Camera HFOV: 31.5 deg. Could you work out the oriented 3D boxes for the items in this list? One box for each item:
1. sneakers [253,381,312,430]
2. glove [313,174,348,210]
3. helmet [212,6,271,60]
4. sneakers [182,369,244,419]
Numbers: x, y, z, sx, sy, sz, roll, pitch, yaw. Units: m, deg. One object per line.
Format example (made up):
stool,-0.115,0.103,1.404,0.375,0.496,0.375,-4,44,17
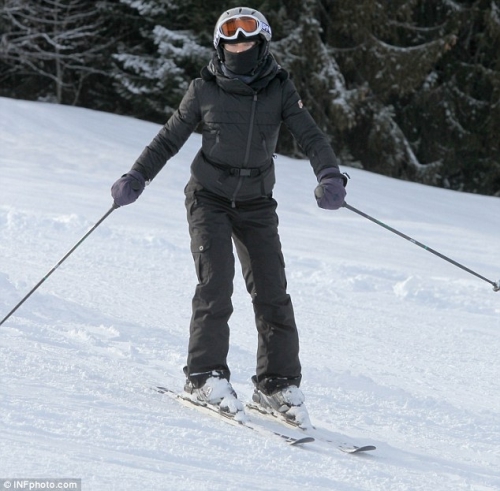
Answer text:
sneakers,0.179,0.891,4.962,0.140,0.160,0.453,-1,12,-43
glove,0.453,-0.306,4.930,0.186,0.202,0.246,12,9,3
helmet,-0.068,-1.230,5.081,0.318,0.288,0.304,0,6,-4
sneakers,-0.178,0.812,4.868,0.484,0.175,0.145,19,11,31
